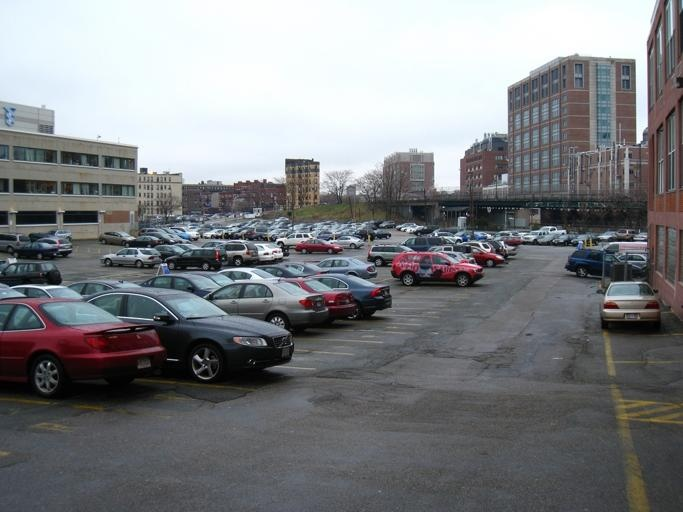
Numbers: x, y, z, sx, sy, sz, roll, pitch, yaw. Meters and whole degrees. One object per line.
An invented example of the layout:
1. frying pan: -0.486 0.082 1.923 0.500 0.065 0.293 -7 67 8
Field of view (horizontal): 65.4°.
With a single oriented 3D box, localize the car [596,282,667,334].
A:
1. car: 10.011 1.624 19.085 1.347 0.853 2.685 -1 5 12
